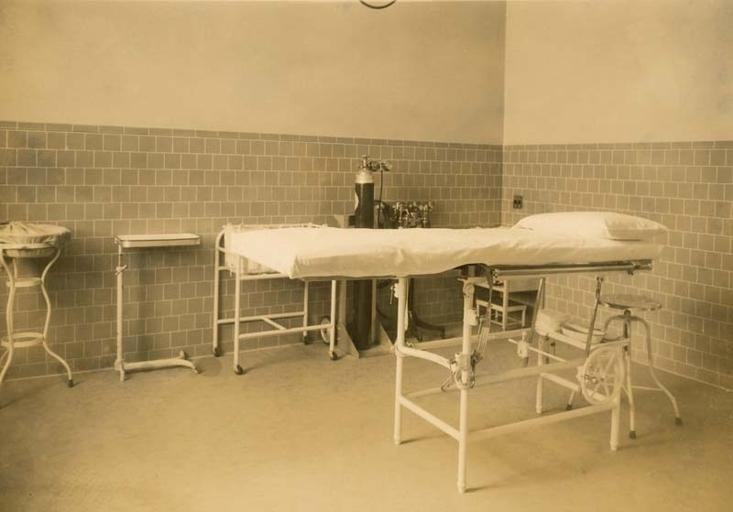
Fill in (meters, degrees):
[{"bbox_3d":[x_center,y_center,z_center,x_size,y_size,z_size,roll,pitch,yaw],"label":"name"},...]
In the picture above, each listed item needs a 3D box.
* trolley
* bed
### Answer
[{"bbox_3d":[-0.903,0.353,6.022,1.170,1.373,1.016,0,5,-18],"label":"trolley"},{"bbox_3d":[0.575,0.654,4.471,2.859,1.725,1.037,-2,8,-16],"label":"bed"}]
